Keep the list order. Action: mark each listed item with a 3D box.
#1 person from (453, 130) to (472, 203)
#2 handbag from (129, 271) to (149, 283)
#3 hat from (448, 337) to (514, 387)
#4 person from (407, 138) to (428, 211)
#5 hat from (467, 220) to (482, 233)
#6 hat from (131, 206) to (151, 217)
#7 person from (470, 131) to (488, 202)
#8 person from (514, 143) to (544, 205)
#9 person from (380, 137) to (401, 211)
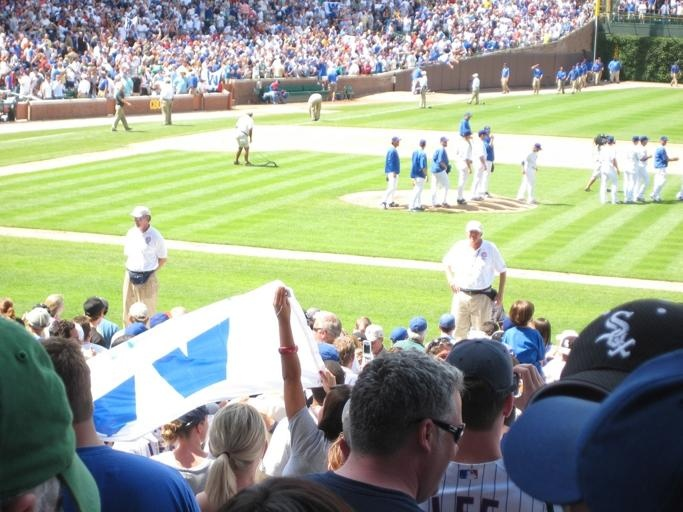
[{"bbox_3d":[4.023,-2.866,41.839,0.526,2.343,0.994,2,11,4],"label":"person"},{"bbox_3d":[-5.211,0.550,32.869,0.531,0.350,0.076,1,10,-2],"label":"handbag"},{"bbox_3d":[2.798,2.076,25.108,0.747,0.634,1.176,5,22,10],"label":"hat"},{"bbox_3d":[2.502,-2.597,41.036,0.544,2.262,1.495,2,11,3],"label":"person"},{"bbox_3d":[3.400,-0.737,32.365,0.343,0.275,0.505,5,12,16],"label":"hat"},{"bbox_3d":[-5.168,-1.128,32.735,0.460,0.272,0.360,11,7,-5],"label":"hat"},{"bbox_3d":[4.544,-2.909,41.914,0.522,2.266,0.893,2,11,7],"label":"person"},{"bbox_3d":[6.167,-2.767,41.914,0.650,1.887,1.558,3,11,7],"label":"person"},{"bbox_3d":[1.592,-2.701,41.138,0.491,2.281,1.151,2,11,2],"label":"person"}]
